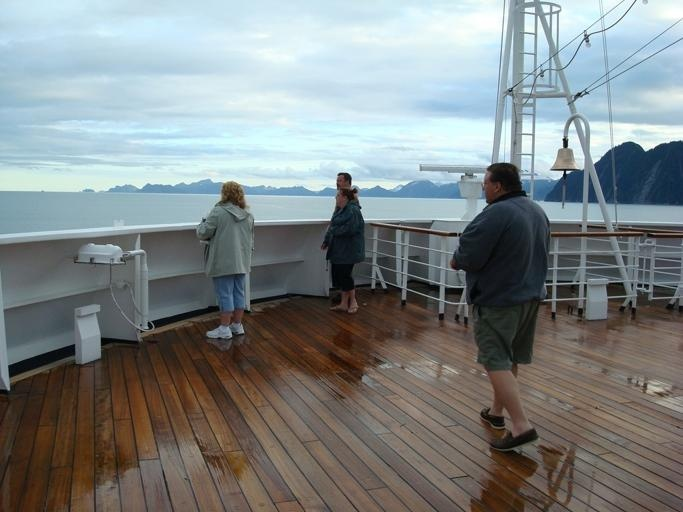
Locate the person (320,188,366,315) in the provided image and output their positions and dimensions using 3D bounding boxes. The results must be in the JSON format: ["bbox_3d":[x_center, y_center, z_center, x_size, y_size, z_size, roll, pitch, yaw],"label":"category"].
[{"bbox_3d":[0.049,-0.073,6.863,0.520,1.711,0.390,1,10,1],"label":"person"}]

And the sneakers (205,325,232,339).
[{"bbox_3d":[-1.395,0.882,5.754,0.311,0.144,0.130,2,3,9],"label":"sneakers"}]

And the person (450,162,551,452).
[{"bbox_3d":[1.093,0.347,3.531,0.652,1.978,0.471,3,10,15],"label":"person"}]

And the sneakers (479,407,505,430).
[{"bbox_3d":[1.155,1.259,3.841,0.087,0.082,0.197,1,6,-15],"label":"sneakers"}]

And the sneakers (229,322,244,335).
[{"bbox_3d":[-1.197,0.861,5.877,0.085,0.101,0.217,-3,11,-17],"label":"sneakers"}]

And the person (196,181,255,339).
[{"bbox_3d":[-1.282,0.050,5.700,0.652,1.785,0.377,-5,11,-28],"label":"person"}]
